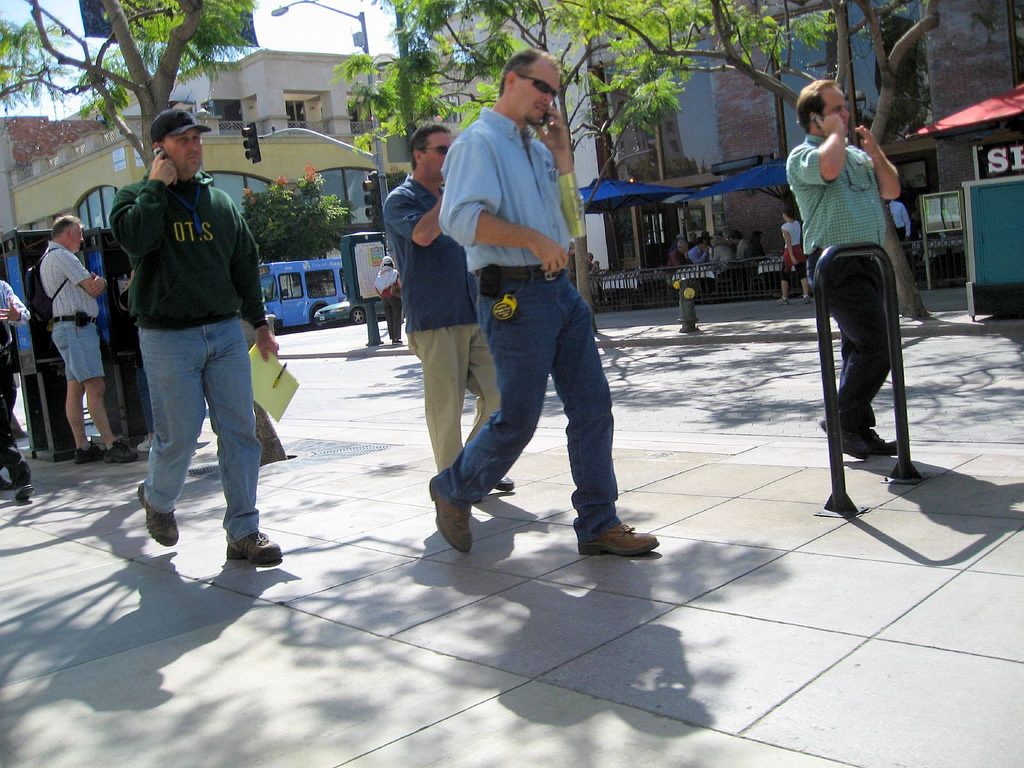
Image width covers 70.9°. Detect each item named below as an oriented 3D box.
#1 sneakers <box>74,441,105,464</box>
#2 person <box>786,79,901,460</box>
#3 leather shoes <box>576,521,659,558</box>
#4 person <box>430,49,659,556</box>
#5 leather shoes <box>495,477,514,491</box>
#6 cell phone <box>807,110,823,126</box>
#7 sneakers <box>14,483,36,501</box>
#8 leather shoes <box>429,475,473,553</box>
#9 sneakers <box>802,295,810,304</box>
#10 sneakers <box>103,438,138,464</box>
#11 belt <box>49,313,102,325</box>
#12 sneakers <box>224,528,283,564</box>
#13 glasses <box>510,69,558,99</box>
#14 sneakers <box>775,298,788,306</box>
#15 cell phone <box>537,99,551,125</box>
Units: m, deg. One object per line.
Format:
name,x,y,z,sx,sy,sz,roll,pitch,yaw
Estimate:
sneakers,-4.624,0.766,7.880,0.156,0.152,0.374,9,12,38
person,2.185,-0.770,4.730,0.902,2.604,0.553,-13,9,-42
leather shoes,0.539,0.799,3.676,0.400,0.149,0.158,-2,0,12
person,0.069,-0.378,3.590,1.013,2.577,0.688,-8,7,-6
leather shoes,-0.047,0.740,5.268,0.096,0.120,0.256,-1,-12,6
cell phone,1.961,-1.751,4.665,0.053,0.051,0.183,28,21,7
sneakers,-4.261,0.960,6.280,0.124,0.120,0.245,-12,8,-38
leather shoes,-0.301,0.735,3.937,0.204,0.423,0.181,-16,2,25
sneakers,7.209,-2.094,17.693,0.167,0.121,0.377,18,41,12
sneakers,-4.155,0.714,7.717,0.382,0.215,0.201,-2,9,-9
belt,-4.595,-0.682,7.548,0.393,0.109,0.233,-9,7,-28
sneakers,-1.472,0.936,4.097,0.385,0.170,0.132,-1,8,36
glasses,0.117,-1.475,3.531,0.165,0.043,0.157,6,26,-44
sneakers,6.680,-2.050,17.760,0.174,0.178,0.445,-5,14,-1
cell phone,0.160,-1.368,3.585,0.028,0.094,0.072,10,21,16
